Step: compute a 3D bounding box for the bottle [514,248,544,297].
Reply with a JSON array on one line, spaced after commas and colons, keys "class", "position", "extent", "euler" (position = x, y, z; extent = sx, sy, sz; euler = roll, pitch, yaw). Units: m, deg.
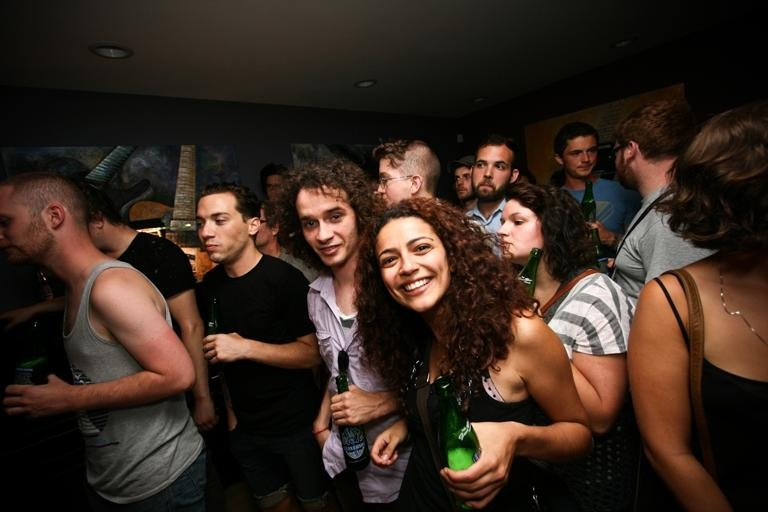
[{"class": "bottle", "position": [0.841, 0.093, 3.109], "extent": [0.135, 0.276, 0.077], "euler": [-1, 8, 19]}]
